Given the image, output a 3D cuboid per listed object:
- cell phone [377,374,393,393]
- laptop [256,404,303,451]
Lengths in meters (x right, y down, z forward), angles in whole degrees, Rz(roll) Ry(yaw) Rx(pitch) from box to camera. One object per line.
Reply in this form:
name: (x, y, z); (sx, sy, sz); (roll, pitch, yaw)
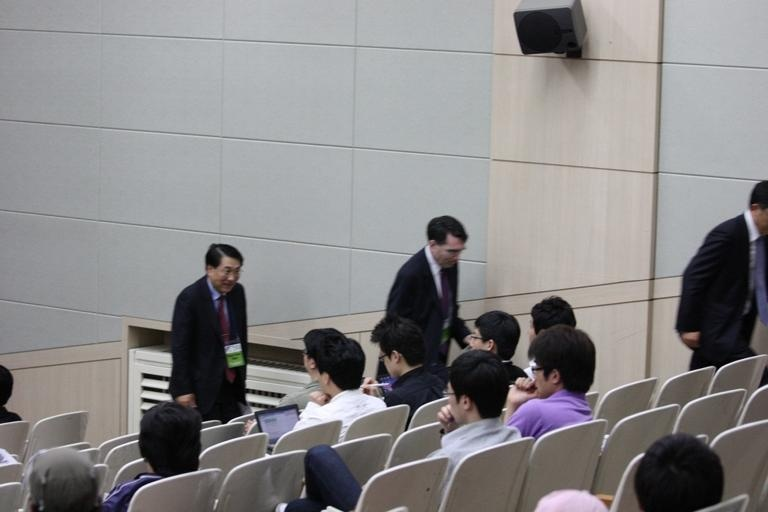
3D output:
cell phone: (0.000, 0.839, 5.386); (0.129, 0.049, 0.123); (-8, 16, -16)
laptop: (-0.611, 0.949, 4.776); (0.268, 0.193, 0.195); (-8, 11, -40)
